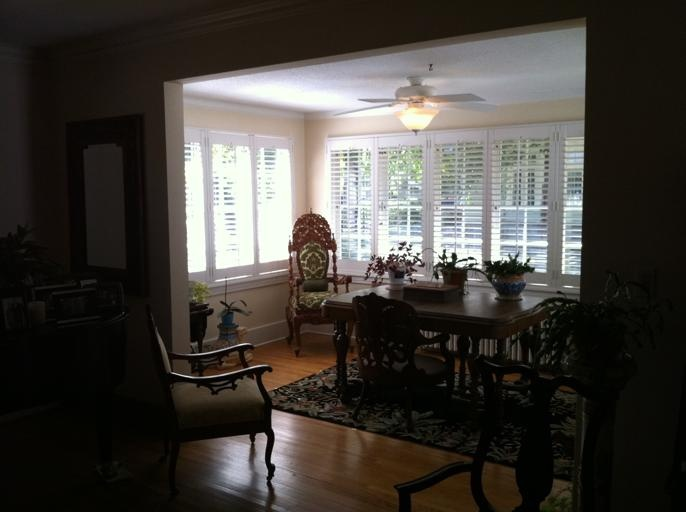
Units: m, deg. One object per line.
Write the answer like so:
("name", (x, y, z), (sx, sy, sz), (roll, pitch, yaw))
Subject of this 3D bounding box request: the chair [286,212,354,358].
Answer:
("chair", (-0.274, 0.324, 6.157), (0.725, 1.537, 0.700), (-3, 6, 4))

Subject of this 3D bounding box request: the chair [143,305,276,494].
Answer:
("chair", (-0.889, 0.904, 3.583), (0.761, 1.055, 0.643), (-1, 5, -18))

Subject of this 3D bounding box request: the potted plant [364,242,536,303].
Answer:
("potted plant", (0.927, 0.119, 5.002), (1.504, 0.556, 0.692), (5, 4, 31))

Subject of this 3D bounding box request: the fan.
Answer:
("fan", (0.664, -1.323, 4.418), (0.741, 0.139, 0.739), (1, -2, -22))

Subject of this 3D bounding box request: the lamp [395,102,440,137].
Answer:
("lamp", (0.616, -1.184, 4.543), (0.281, 0.193, 0.282), (-1, -2, -1))
